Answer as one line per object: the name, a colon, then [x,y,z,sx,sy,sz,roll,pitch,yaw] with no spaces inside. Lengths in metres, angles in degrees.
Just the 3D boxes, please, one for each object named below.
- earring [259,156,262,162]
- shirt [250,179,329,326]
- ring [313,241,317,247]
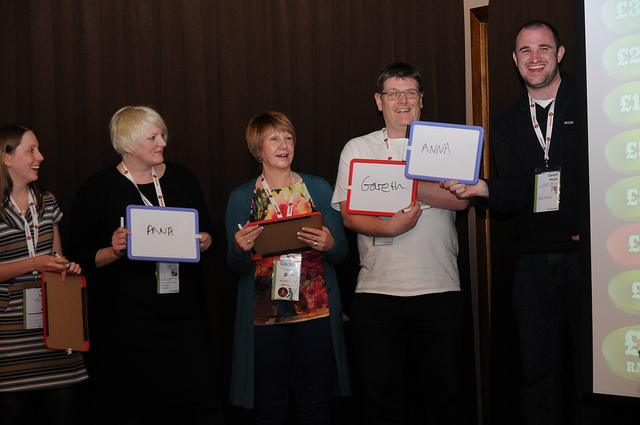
earring: [-0.366,-0.322,3.192,0.013,0.028,0.061,-6,6,-4]
shirt: [-0.207,0.233,3.043,0.442,0.802,0.230,-6,5,-3]
ring: [-0.027,0.181,2.906,0.024,0.030,0.011,-6,5,1]
